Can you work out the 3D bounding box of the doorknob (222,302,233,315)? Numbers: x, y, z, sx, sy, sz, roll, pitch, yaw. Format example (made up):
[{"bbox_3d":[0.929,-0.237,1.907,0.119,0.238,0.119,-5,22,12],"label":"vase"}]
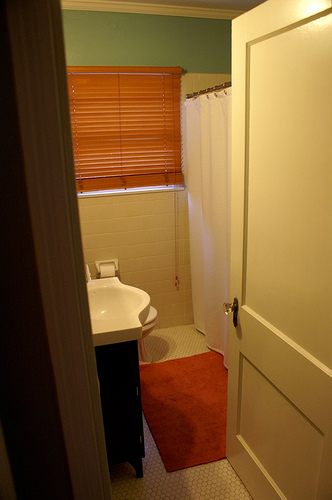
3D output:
[{"bbox_3d":[0.263,0.245,1.494,0.037,0.047,0.016,-3,-9,16],"label":"doorknob"}]

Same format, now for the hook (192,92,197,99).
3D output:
[{"bbox_3d":[0.203,-1.110,2.553,0.024,0.043,0.083,-5,20,-4],"label":"hook"}]

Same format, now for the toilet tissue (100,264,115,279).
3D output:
[{"bbox_3d":[-0.421,0.143,2.545,0.071,0.064,0.083,-4,15,-13],"label":"toilet tissue"}]

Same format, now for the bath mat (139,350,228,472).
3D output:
[{"bbox_3d":[0.164,0.917,2.273,0.643,0.221,1.015,-8,21,-5],"label":"bath mat"}]

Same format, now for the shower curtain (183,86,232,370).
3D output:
[{"bbox_3d":[0.319,-0.127,2.608,0.191,1.910,0.804,-5,17,-5],"label":"shower curtain"}]

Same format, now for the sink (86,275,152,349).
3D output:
[{"bbox_3d":[-0.238,0.299,1.812,0.266,0.118,0.496,-4,23,-12],"label":"sink"}]
